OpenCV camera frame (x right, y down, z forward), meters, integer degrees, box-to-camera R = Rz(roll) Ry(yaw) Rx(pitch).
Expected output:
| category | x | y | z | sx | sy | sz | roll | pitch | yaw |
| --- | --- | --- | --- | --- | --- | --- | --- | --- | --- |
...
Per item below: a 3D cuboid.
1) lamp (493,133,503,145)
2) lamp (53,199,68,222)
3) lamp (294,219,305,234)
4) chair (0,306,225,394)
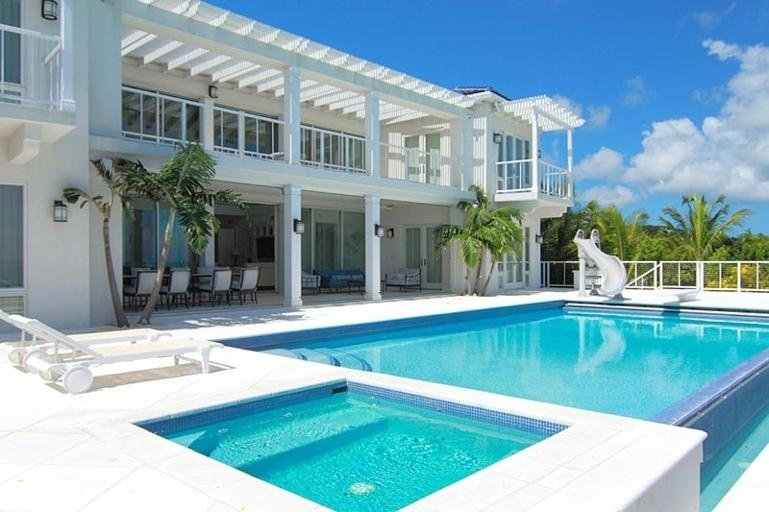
| category | x | y | z | sx | sy | sz | roll | pitch | yaw |
| --- | --- | --- | --- | --- | --- | --- | --- | --- | --- |
| lamp | 3.810 | -3.904 | 18.129 | 0.248 | 0.469 | 0.490 | 2 | 1 | 34 |
| lamp | -5.697 | -0.782 | 9.548 | 0.232 | 0.385 | 0.139 | -1 | 6 | -33 |
| lamp | -2.051 | -0.684 | 12.827 | 0.206 | 0.357 | 0.179 | 0 | 5 | -20 |
| chair | -3.479 | 1.090 | 6.661 | 2.569 | 0.908 | 1.583 | 2 | 5 | 5 |
